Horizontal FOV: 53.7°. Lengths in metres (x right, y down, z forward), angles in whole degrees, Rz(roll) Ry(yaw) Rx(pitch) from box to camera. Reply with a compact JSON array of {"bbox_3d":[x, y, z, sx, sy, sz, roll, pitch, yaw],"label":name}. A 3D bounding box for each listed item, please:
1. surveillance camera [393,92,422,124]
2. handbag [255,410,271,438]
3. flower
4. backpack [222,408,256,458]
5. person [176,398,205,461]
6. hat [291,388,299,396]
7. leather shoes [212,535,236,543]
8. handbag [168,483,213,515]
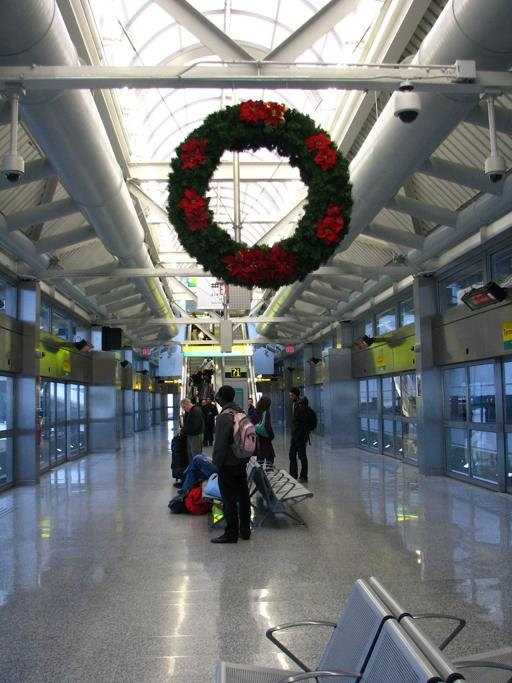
[{"bbox_3d":[1.210,-1.935,4.078,0.186,0.238,0.210,-4,-9,21],"label":"surveillance camera"},{"bbox_3d":[0.146,1.577,9.624,0.321,0.558,0.693,-1,-8,0],"label":"handbag"},{"bbox_3d":[-0.270,-1.372,4.425,0.342,1.175,1.280,18,38,19],"label":"flower"},{"bbox_3d":[-0.223,1.061,5.934,0.387,0.508,0.567,4,-1,-33],"label":"backpack"},{"bbox_3d":[-1.251,1.699,9.822,0.405,1.250,1.398,0,-8,-8],"label":"person"},{"bbox_3d":[0.790,0.997,10.177,0.209,0.187,0.168,-2,-6,2],"label":"hat"},{"bbox_3d":[-0.369,2.274,5.867,0.291,0.114,0.104,4,-15,-3],"label":"leather shoes"},{"bbox_3d":[-0.997,2.400,7.595,0.511,0.205,0.498,0,-4,-15],"label":"handbag"}]
